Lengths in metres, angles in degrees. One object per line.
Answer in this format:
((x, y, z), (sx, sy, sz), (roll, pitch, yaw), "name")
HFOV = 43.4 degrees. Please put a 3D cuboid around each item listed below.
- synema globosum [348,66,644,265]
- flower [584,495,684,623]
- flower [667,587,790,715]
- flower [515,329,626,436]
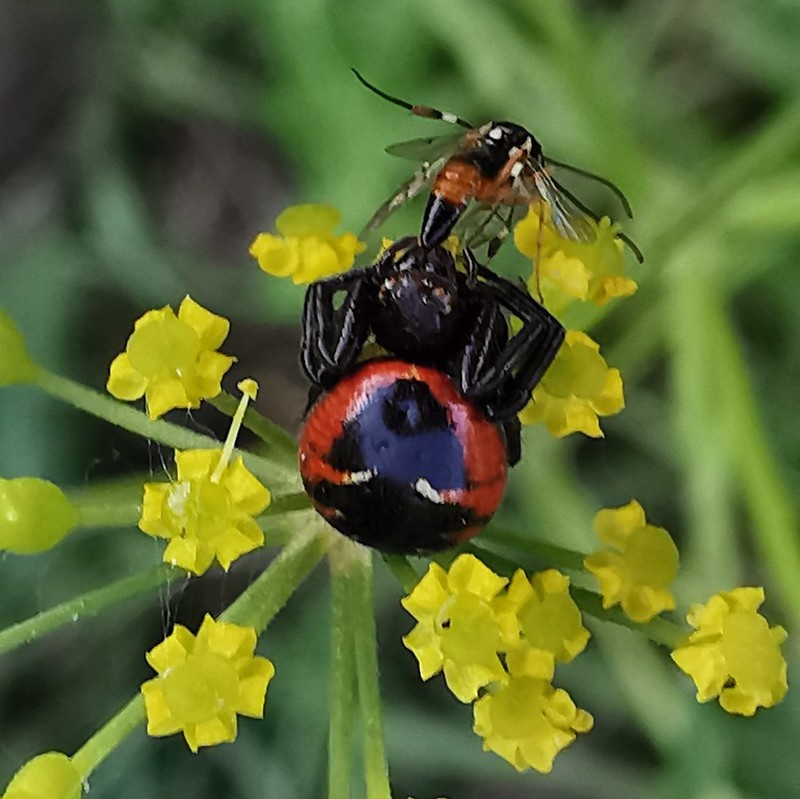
((0.061, -0.161, 0.691), (0.127, 0.058, 0.167), (-26, 47, -30), "synema globosum")
((0.178, 0.125, 0.773), (0.071, 0.044, 0.091), (4, 82, 2), "flower")
((0.254, 0.182, 0.754), (0.078, 0.028, 0.096), (10, 80, 6), "flower")
((0.131, -0.001, 0.784), (0.083, 0.079, 0.023), (-59, 31, 5), "flower")
